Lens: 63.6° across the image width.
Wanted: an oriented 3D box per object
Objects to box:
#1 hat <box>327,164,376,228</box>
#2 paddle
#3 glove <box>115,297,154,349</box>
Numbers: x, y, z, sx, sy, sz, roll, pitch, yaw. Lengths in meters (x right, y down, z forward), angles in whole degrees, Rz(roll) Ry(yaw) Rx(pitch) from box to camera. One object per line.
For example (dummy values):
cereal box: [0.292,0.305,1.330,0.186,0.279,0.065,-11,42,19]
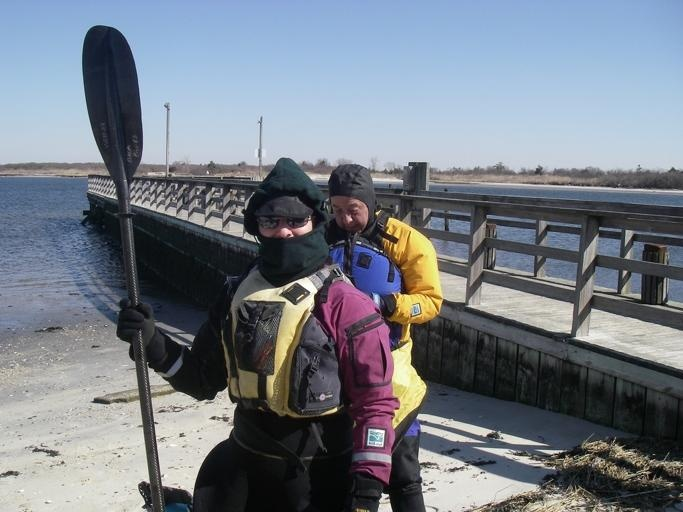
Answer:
hat: [0.014,-0.347,3.117,0.258,0.370,0.376,4,17,27]
paddle: [-0.761,0.088,1.995,0.178,1.500,0.328,-6,3,-22]
glove: [-0.797,0.237,2.136,0.157,0.214,0.076,-15,3,-17]
